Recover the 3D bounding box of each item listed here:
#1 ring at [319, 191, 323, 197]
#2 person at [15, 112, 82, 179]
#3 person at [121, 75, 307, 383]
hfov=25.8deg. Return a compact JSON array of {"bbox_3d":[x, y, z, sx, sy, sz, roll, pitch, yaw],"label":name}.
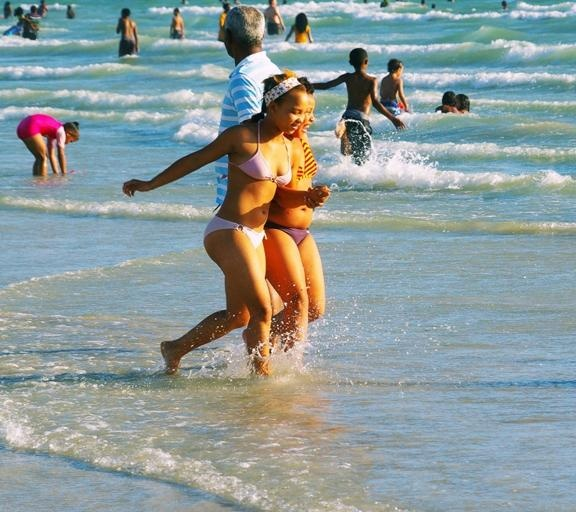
[{"bbox_3d":[0.217,-0.408,8.121,0.040,0.035,0.009,7,18,28],"label":"ring"},{"bbox_3d":[-3.049,-1.451,16.133,0.673,0.781,0.707,5,16,21],"label":"person"},{"bbox_3d":[-0.362,-0.156,8.343,0.996,2.103,0.460,-1,16,0],"label":"person"}]
